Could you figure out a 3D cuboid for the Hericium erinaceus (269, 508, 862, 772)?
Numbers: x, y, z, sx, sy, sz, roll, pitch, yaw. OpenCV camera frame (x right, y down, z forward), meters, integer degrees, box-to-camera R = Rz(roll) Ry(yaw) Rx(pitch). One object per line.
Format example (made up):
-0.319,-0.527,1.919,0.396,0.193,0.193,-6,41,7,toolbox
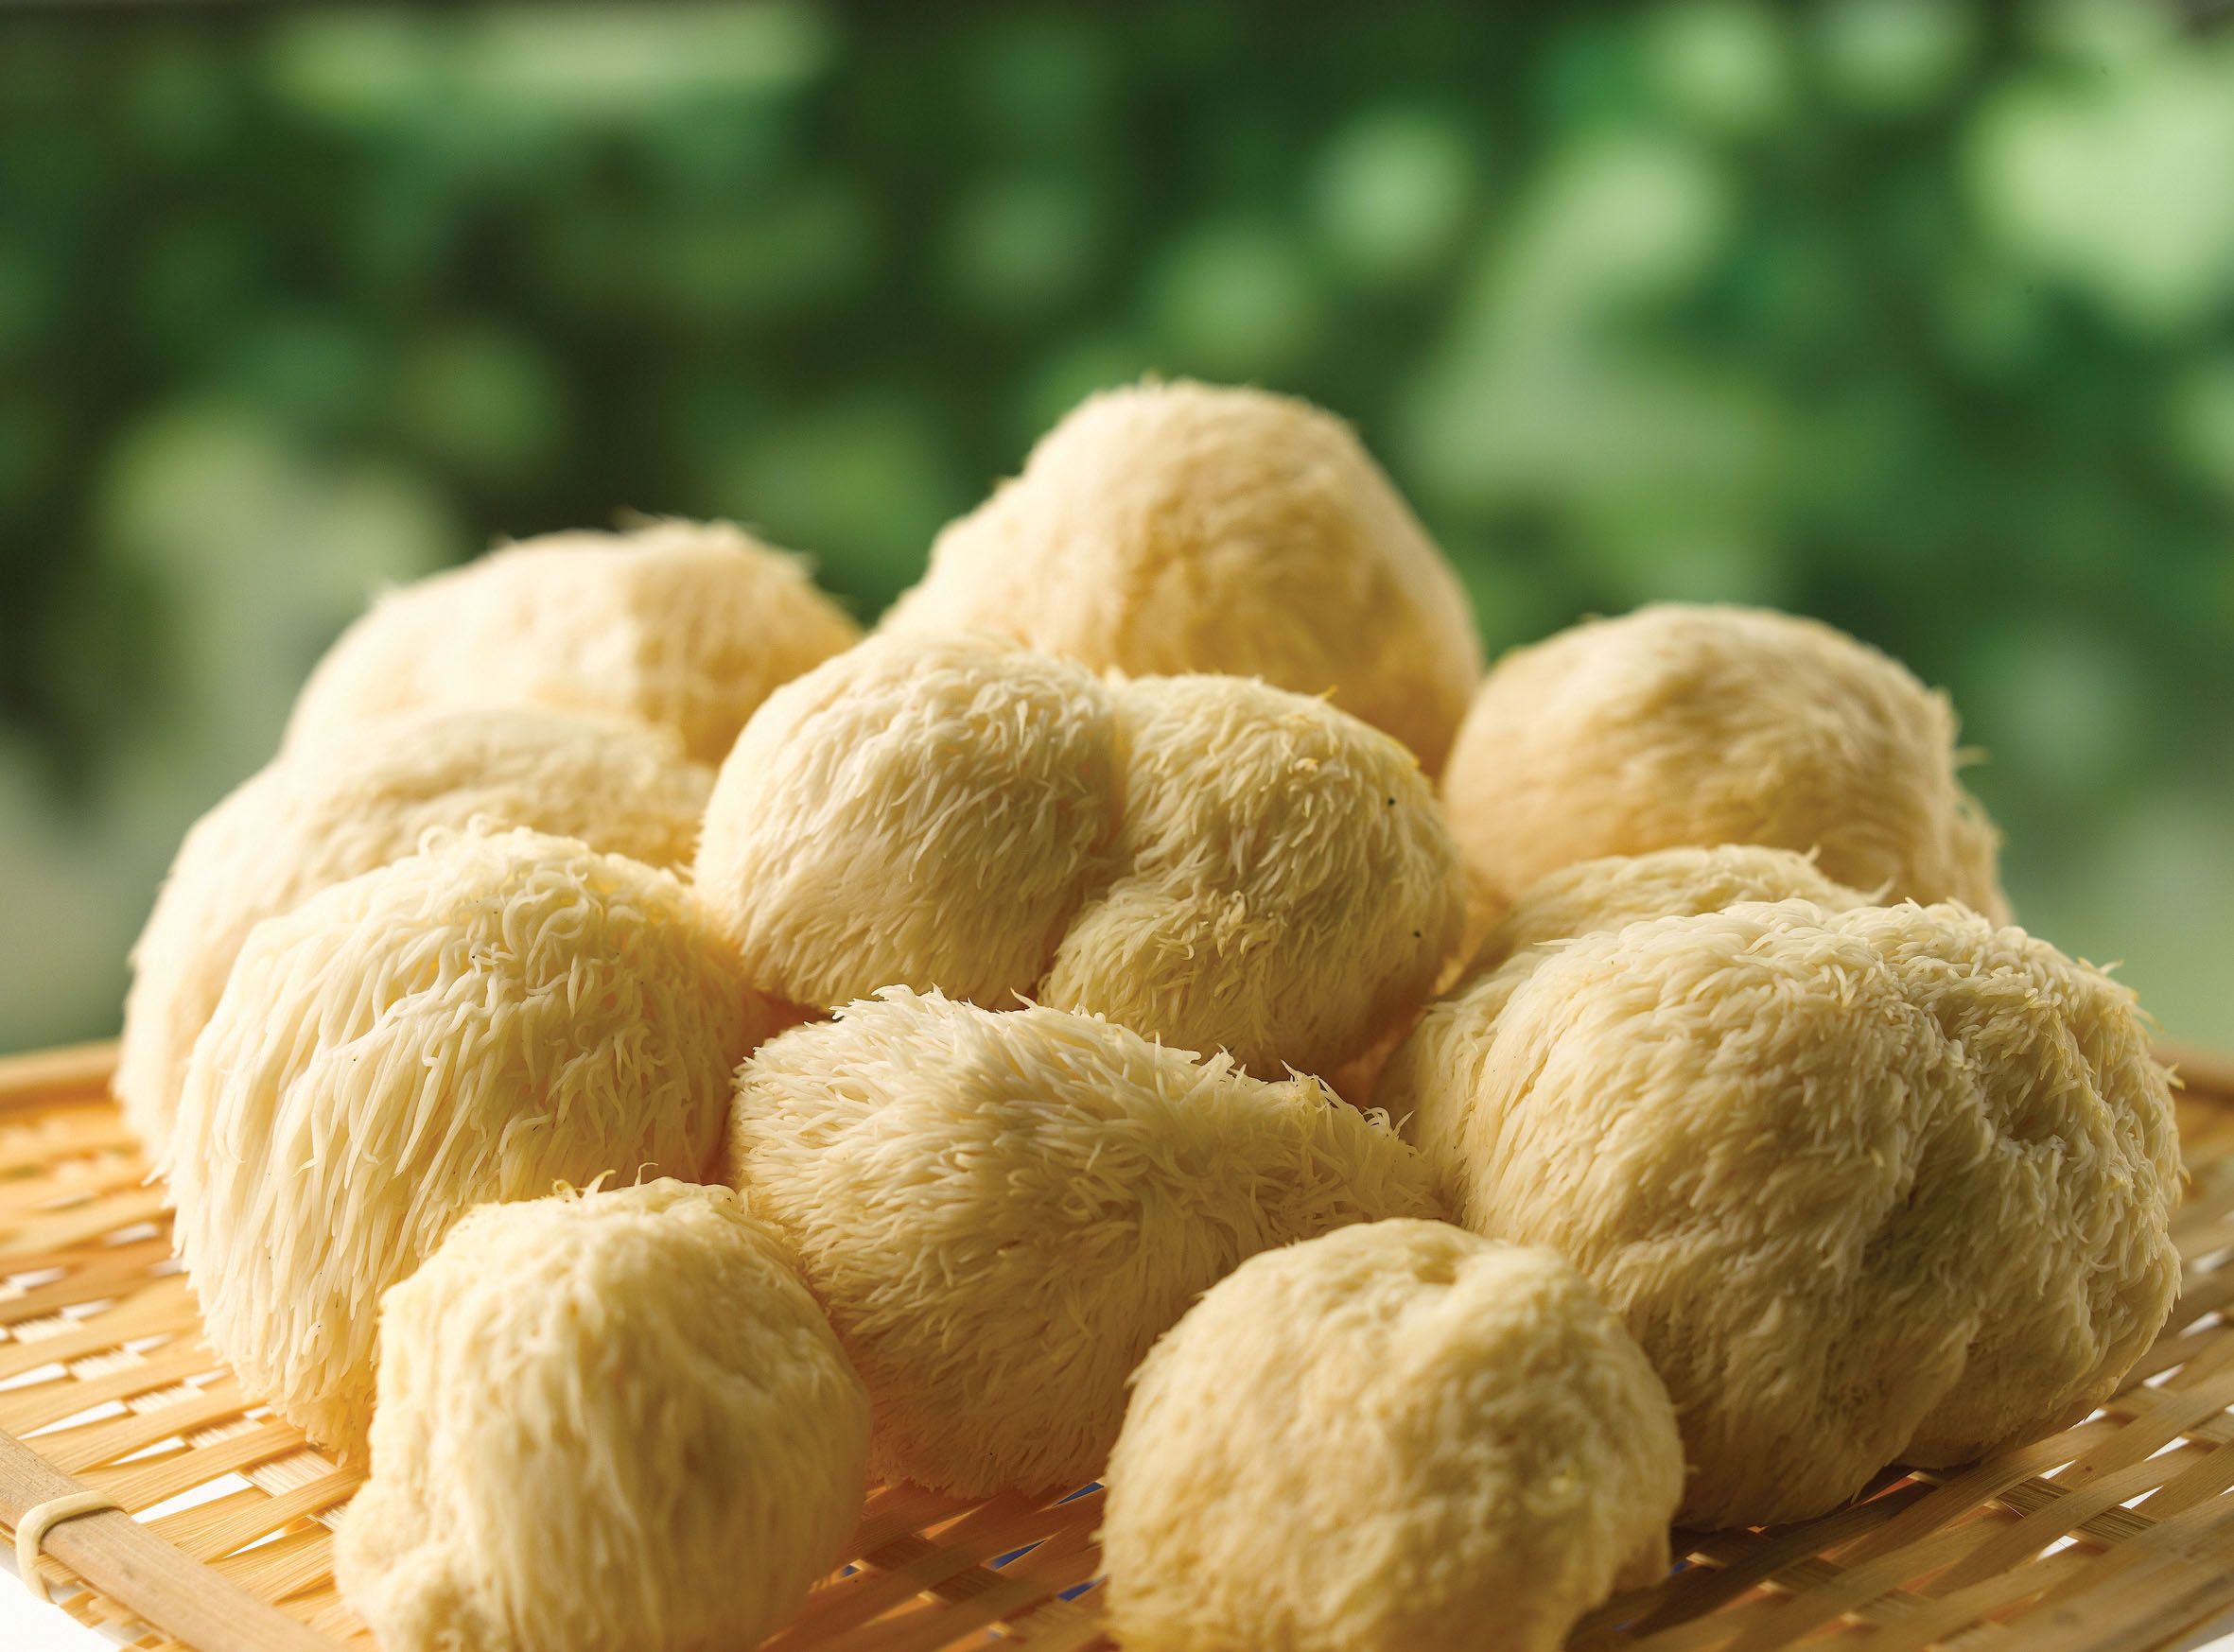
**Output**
-0.288,-0.103,1.584,0.297,0.158,0.275,-16,-1,36,Hericium erinaceus

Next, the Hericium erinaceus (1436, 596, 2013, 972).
0.322,-0.036,1.470,0.290,0.184,0.322,-7,-4,-40,Hericium erinaceus

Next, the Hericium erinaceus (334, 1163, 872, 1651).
-0.201,0.252,1.123,0.213,0.170,0.154,-30,39,16,Hericium erinaceus

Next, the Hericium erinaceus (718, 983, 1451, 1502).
-0.027,0.141,1.129,0.239,0.135,0.255,-5,13,-27,Hericium erinaceus

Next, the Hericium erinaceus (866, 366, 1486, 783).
0.057,-0.138,1.386,0.250,0.149,0.228,0,67,5,Hericium erinaceus

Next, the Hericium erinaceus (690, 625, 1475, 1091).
-0.019,0.012,1.187,0.315,0.188,0.153,8,53,-3,Hericium erinaceus

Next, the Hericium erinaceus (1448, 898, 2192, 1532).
0.321,0.160,1.147,0.315,0.200,0.251,-6,-4,34,Hericium erinaceus

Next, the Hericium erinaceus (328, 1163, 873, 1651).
-0.200,0.254,1.124,0.213,0.171,0.154,-30,39,18,Hericium erinaceus
